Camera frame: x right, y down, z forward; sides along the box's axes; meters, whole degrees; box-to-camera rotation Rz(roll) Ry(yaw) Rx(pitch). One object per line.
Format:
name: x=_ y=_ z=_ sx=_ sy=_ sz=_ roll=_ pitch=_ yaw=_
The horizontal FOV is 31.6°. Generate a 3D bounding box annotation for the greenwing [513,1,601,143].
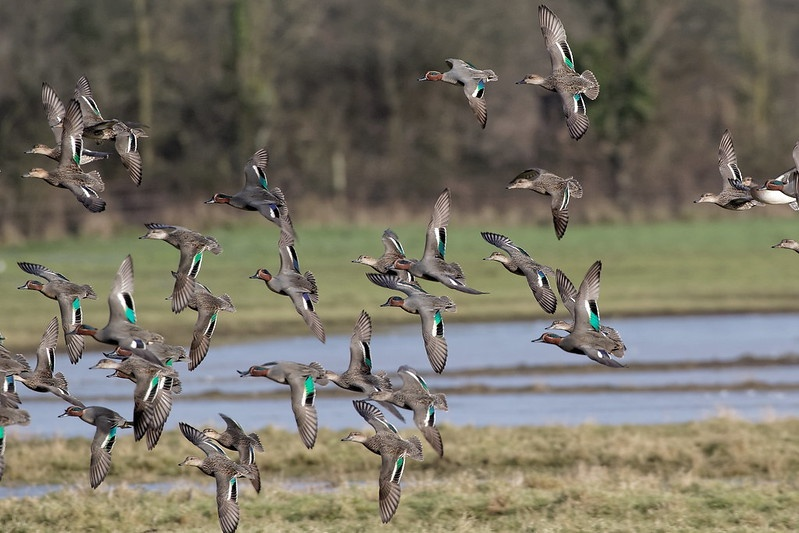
greenwing: x=2.992 y=-3.554 z=25.767 sx=1.222 sy=2.455 sz=1.222 roll=-4 pitch=3 yaw=6

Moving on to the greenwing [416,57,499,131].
greenwing: x=1.138 y=-3.473 z=25.771 sx=1.502 sy=0.448 sz=1.793 roll=-12 pitch=-12 yaw=-1

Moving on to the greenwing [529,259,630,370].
greenwing: x=3.210 y=1.245 z=24.925 sx=1.566 sy=2.589 sz=1.034 roll=-4 pitch=-32 yaw=4

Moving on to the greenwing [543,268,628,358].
greenwing: x=3.281 y=0.870 z=25.047 sx=1.300 sy=1.915 sz=0.603 roll=-4 pitch=3 yaw=6
